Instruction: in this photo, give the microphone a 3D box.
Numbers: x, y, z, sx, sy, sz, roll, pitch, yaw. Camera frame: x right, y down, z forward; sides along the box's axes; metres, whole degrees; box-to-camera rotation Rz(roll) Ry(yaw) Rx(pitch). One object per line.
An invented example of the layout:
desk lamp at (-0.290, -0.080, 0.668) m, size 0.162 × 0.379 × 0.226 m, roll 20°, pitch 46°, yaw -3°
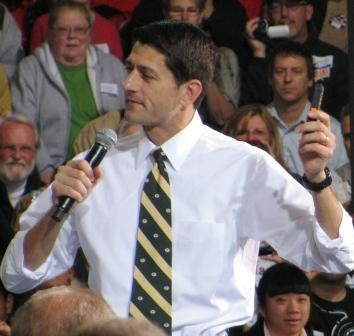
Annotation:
microphone at (-0.284, -0.020, 2.656) m, size 0.111 × 0.450 × 0.101 m, roll 25°, pitch -20°, yaw 12°
